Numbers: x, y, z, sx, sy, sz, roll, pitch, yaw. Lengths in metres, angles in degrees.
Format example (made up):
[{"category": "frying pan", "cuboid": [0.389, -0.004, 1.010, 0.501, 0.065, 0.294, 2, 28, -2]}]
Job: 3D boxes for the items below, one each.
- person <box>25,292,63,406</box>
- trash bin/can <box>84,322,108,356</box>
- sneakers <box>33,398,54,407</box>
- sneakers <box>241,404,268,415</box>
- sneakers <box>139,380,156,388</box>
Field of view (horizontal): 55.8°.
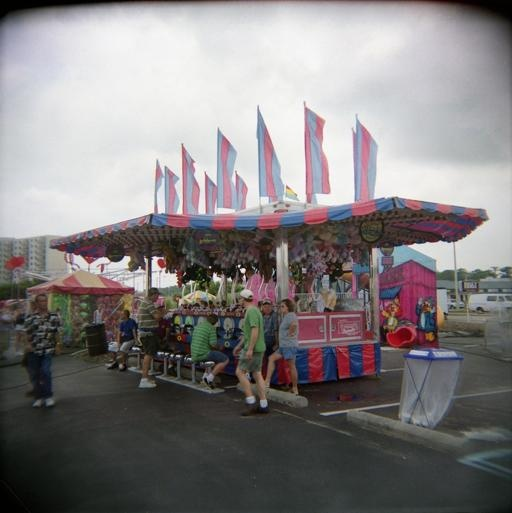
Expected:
[{"category": "person", "cuboid": [-3.272, 1.444, 7.420, 0.491, 1.706, 0.429, 1, -4, -23]}, {"category": "trash bin/can", "cuboid": [-4.342, 2.265, 13.023, 0.404, 0.908, 0.949, -2, -4, 19]}, {"category": "sneakers", "cuboid": [-3.229, 2.240, 7.379, 0.350, 0.162, 0.129, 12, -19, -25]}, {"category": "sneakers", "cuboid": [-0.044, 2.158, 6.810, 0.376, 0.175, 0.141, 10, -18, -25]}, {"category": "sneakers", "cuboid": [-1.987, 2.328, 8.837, 0.316, 0.160, 0.123, 1, 0, -14]}]
